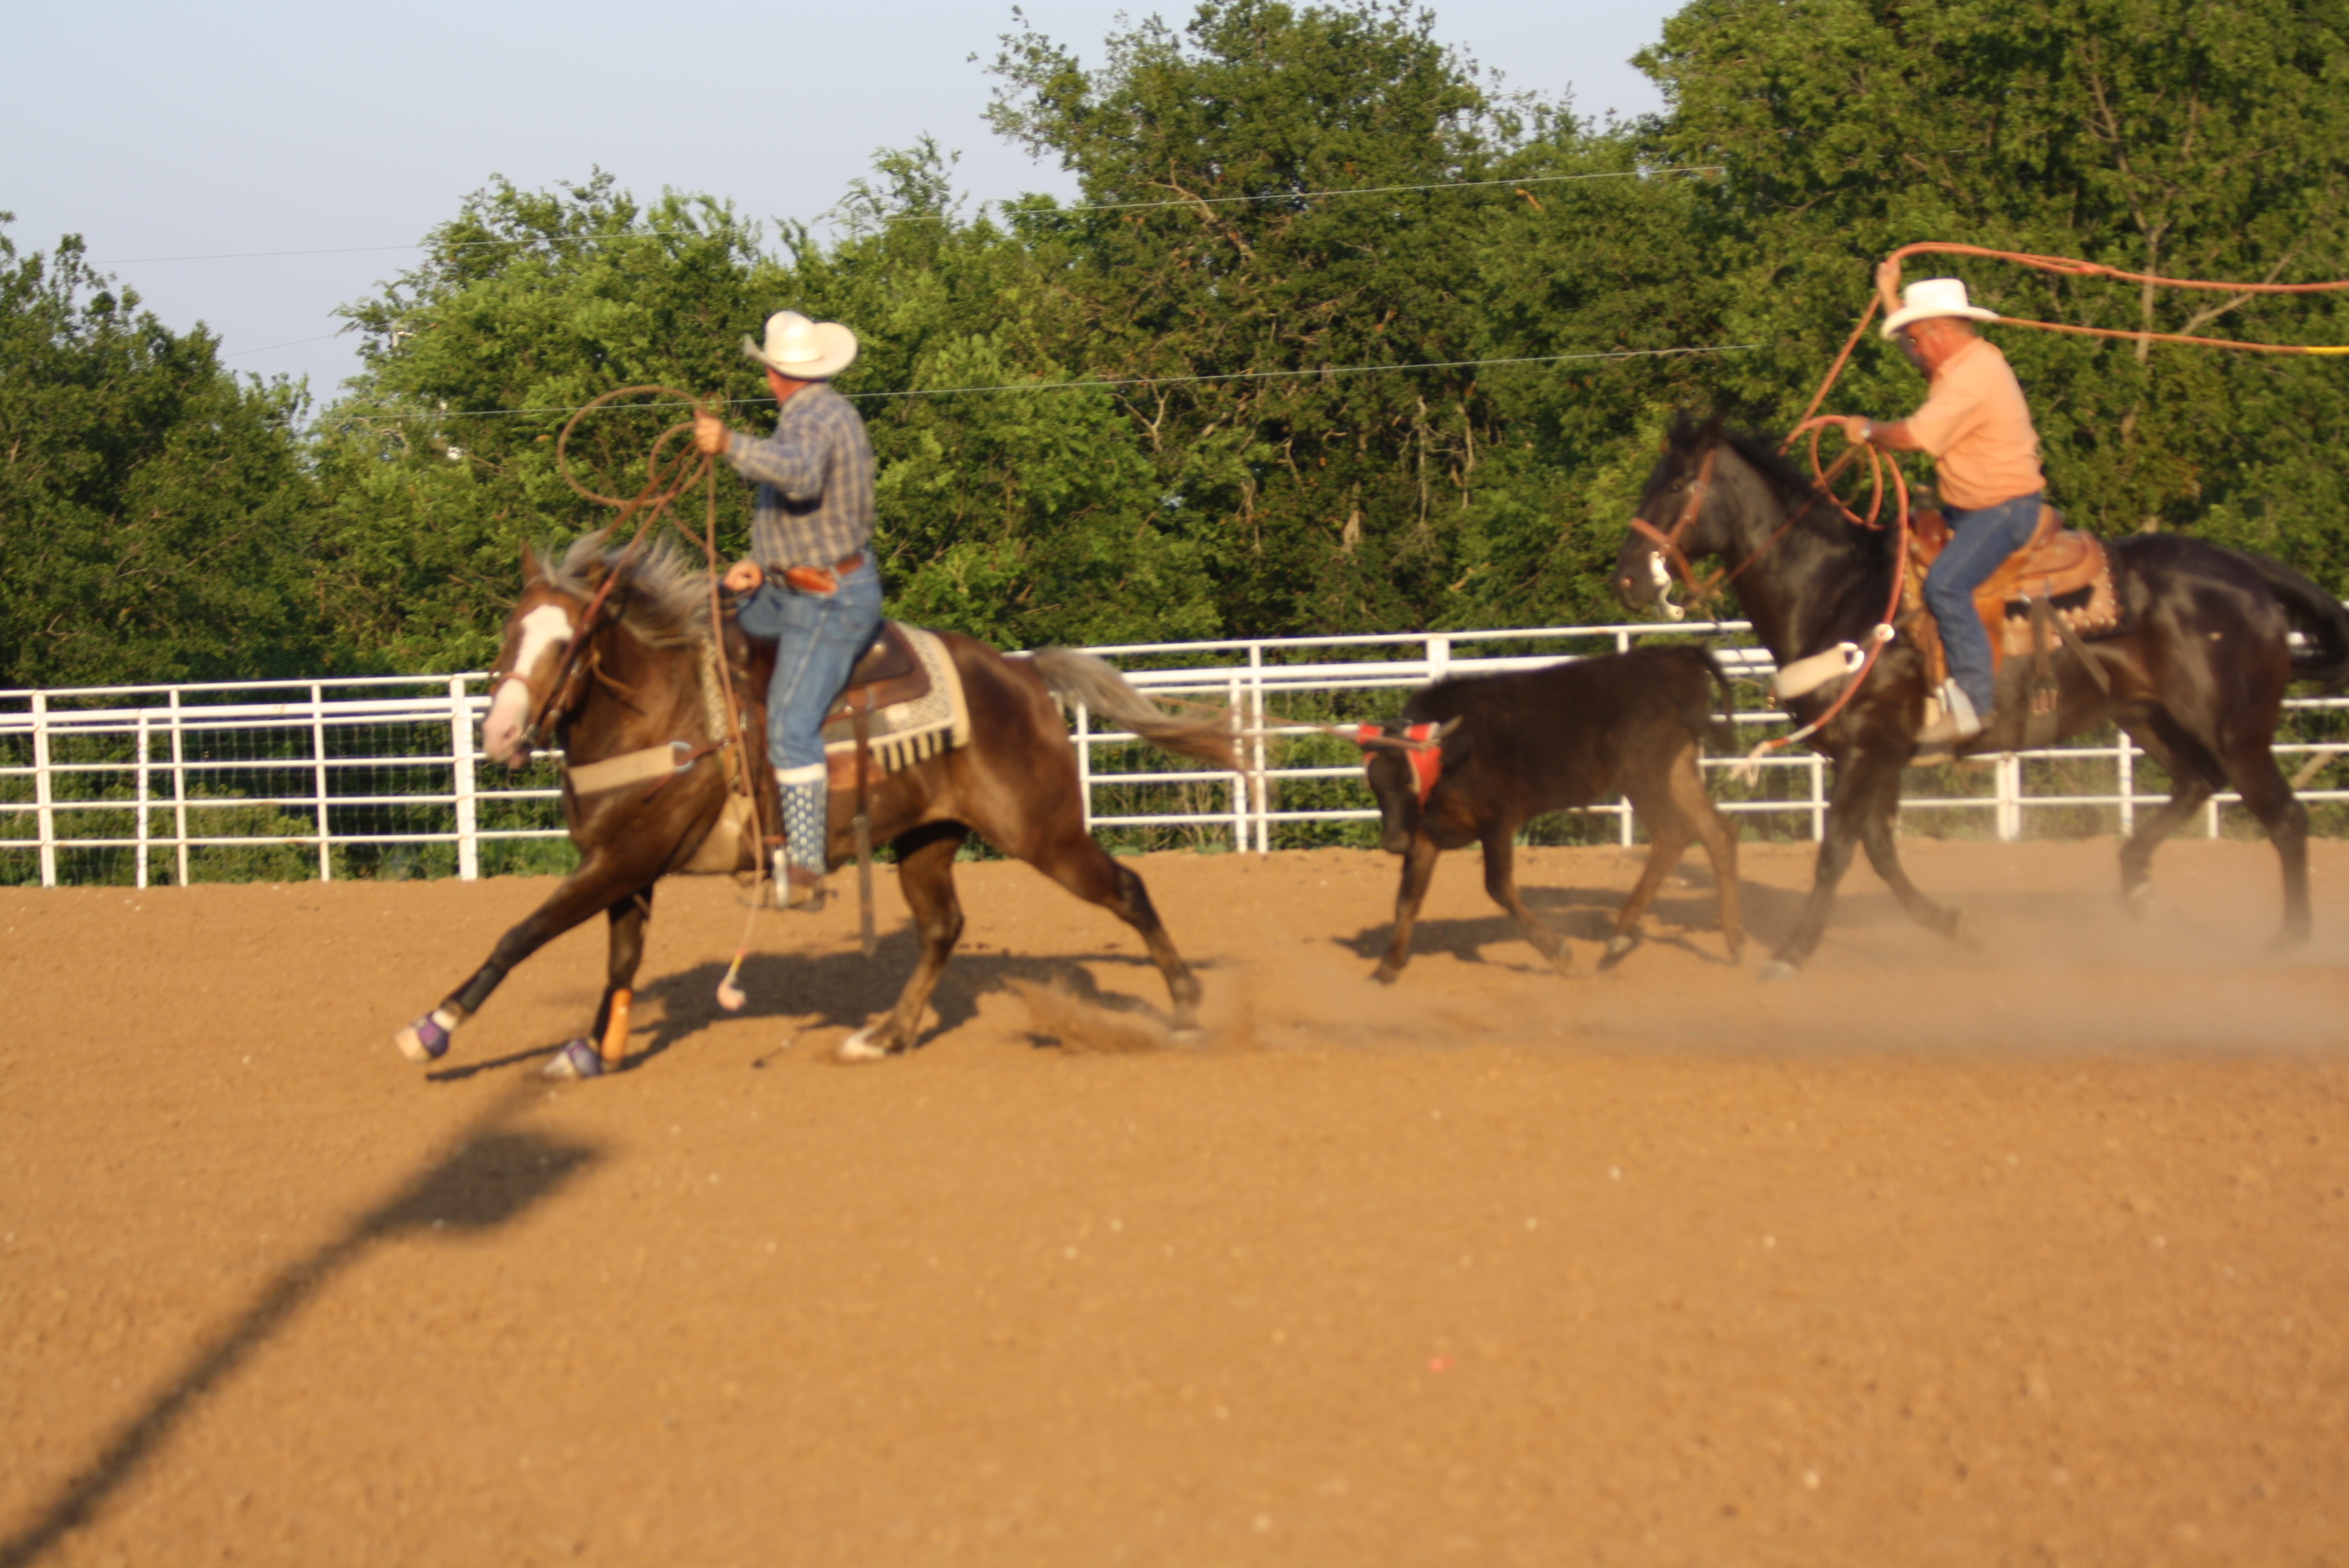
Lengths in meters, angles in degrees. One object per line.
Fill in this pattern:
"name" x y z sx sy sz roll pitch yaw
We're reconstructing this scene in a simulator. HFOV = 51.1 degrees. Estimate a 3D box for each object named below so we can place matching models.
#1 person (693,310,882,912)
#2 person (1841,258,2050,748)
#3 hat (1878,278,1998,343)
"person" -1.867 -0.869 12.315 0.724 2.860 0.567 -5 10 -16
"person" 4.325 -1.461 13.465 0.945 2.516 0.423 -2 10 2
"hat" 4.188 -2.626 13.573 0.551 0.290 0.633 1 11 16
